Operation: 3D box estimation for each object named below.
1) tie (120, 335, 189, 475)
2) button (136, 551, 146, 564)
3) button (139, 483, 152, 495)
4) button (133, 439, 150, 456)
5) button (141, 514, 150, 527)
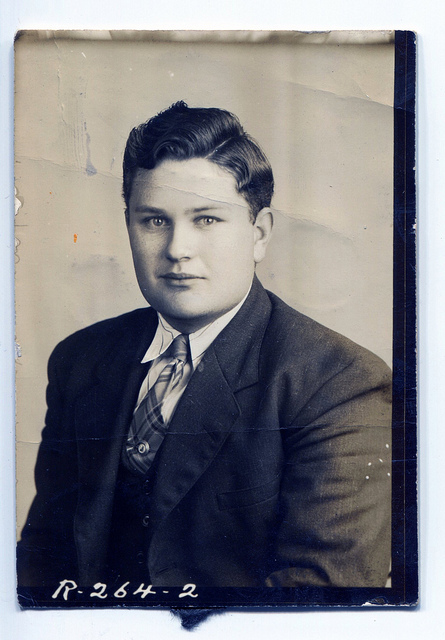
[{"bbox_3d":[-0.161,0.199,2.215,0.072,0.297,0.216,17,-4,-13],"label":"tie"},{"bbox_3d":[-0.198,0.576,2.201,0.026,0.027,0.006,-3,1,17],"label":"button"},{"bbox_3d":[-0.185,0.407,2.194,0.026,0.026,0.006,-9,-4,12],"label":"button"},{"bbox_3d":[-0.193,0.309,2.203,0.032,0.032,0.009,2,-4,24],"label":"button"},{"bbox_3d":[-0.187,0.485,2.194,0.025,0.025,0.006,-4,-7,29],"label":"button"}]
